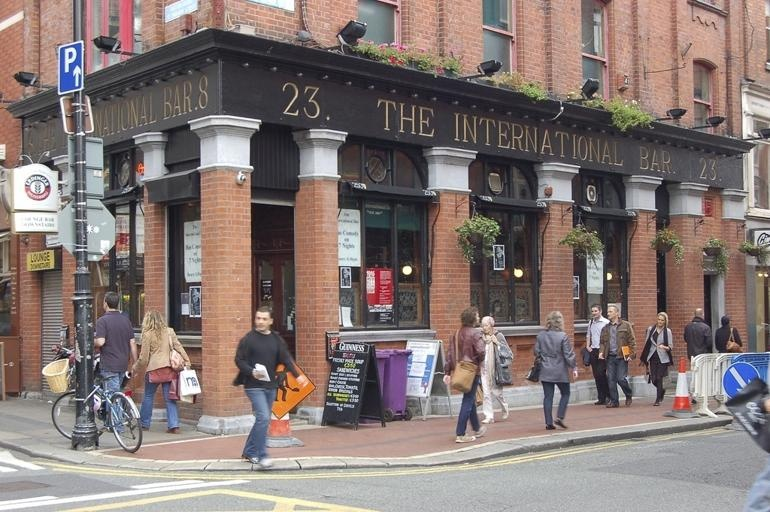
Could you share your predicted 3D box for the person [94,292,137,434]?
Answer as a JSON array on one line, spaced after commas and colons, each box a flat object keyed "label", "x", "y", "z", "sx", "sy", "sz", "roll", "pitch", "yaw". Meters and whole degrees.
[{"label": "person", "x": -5.702, "y": 1.931, "z": 23.609, "sx": 0.865, "sy": 2.083, "sz": 0.945, "roll": 1, "pitch": -1, "yaw": -42}]

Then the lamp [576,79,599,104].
[{"label": "lamp", "x": 5.247, "y": -4.297, "z": 29.670, "sx": 0.511, "sy": 0.761, "sz": 0.980, "roll": -2, "pitch": -8, "yaw": 10}]

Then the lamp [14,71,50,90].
[{"label": "lamp", "x": -8.806, "y": -4.325, "z": 28.433, "sx": 0.695, "sy": 0.324, "sz": 0.941, "roll": 4, "pitch": -4, "yaw": 28}]

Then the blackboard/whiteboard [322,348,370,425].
[{"label": "blackboard/whiteboard", "x": -0.811, "y": 2.807, "z": 24.466, "sx": 0.337, "sy": 1.734, "sz": 1.041, "roll": 6, "pitch": -10, "yaw": -44}]

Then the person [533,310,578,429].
[{"label": "person", "x": 3.642, "y": 2.491, "z": 24.585, "sx": 1.059, "sy": 2.294, "sz": 0.976, "roll": 0, "pitch": 0, "yaw": 10}]

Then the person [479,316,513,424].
[{"label": "person", "x": 2.460, "y": 2.595, "z": 25.651, "sx": 0.835, "sy": 2.315, "sz": 0.849, "roll": 0, "pitch": 0, "yaw": -21}]

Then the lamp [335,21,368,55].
[{"label": "lamp", "x": -0.745, "y": -4.798, "z": 25.382, "sx": 0.589, "sy": 0.725, "sz": 0.439, "roll": 0, "pitch": -8, "yaw": -8}]

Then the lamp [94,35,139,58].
[{"label": "lamp", "x": -5.987, "y": -4.645, "z": 25.570, "sx": 0.883, "sy": 0.319, "sz": 0.635, "roll": 1, "pitch": 0, "yaw": -36}]

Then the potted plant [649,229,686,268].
[{"label": "potted plant", "x": 7.746, "y": -0.151, "z": 30.977, "sx": 0.991, "sy": 0.734, "sz": 1.014, "roll": -5, "pitch": -10, "yaw": 38}]

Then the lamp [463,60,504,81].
[{"label": "lamp", "x": 2.345, "y": -4.419, "z": 27.349, "sx": 0.520, "sy": 0.356, "sz": 0.935, "roll": 1, "pitch": 0, "yaw": -40}]

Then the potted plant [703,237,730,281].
[{"label": "potted plant", "x": 9.243, "y": -0.091, "z": 32.221, "sx": 0.640, "sy": 0.767, "sz": 0.554, "roll": 9, "pitch": 13, "yaw": 27}]

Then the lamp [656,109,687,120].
[{"label": "lamp", "x": 7.841, "y": -3.822, "z": 31.258, "sx": 0.614, "sy": 0.180, "sz": 0.415, "roll": -2, "pitch": -3, "yaw": 28}]

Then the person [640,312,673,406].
[{"label": "person", "x": 6.644, "y": 2.600, "z": 28.101, "sx": 0.744, "sy": 2.240, "sz": 1.358, "roll": -3, "pitch": -8, "yaw": 12}]

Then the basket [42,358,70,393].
[{"label": "basket", "x": -7.017, "y": 2.629, "z": 24.430, "sx": 0.685, "sy": 0.513, "sz": 0.668, "roll": -10, "pitch": 26, "yaw": 0}]

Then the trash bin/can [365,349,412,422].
[{"label": "trash bin/can", "x": 0.199, "y": 2.873, "z": 25.181, "sx": 1.423, "sy": 1.905, "sz": 1.169, "roll": 1, "pitch": -4, "yaw": -24}]

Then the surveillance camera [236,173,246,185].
[{"label": "surveillance camera", "x": -3.037, "y": -1.601, "z": 24.142, "sx": 0.094, "sy": 0.250, "sz": 0.263, "roll": -8, "pitch": -10, "yaw": 42}]

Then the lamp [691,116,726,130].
[{"label": "lamp", "x": 9.140, "y": -3.725, "z": 32.392, "sx": 0.820, "sy": 0.181, "sz": 0.678, "roll": -1, "pitch": -2, "yaw": 24}]

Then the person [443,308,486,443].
[{"label": "person", "x": 1.623, "y": 2.485, "z": 23.280, "sx": 1.013, "sy": 2.420, "sz": 1.001, "roll": -1, "pitch": -2, "yaw": -5}]

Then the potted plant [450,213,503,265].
[{"label": "potted plant", "x": 2.062, "y": -0.337, "z": 26.973, "sx": 1.196, "sy": 0.980, "sz": 1.162, "roll": 0, "pitch": -4, "yaw": -9}]
